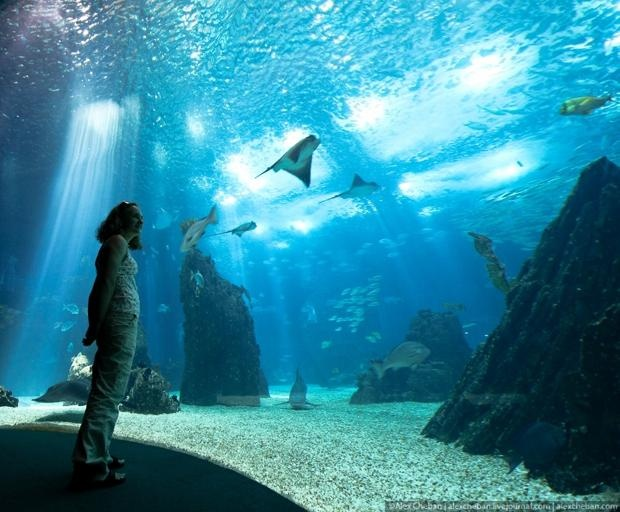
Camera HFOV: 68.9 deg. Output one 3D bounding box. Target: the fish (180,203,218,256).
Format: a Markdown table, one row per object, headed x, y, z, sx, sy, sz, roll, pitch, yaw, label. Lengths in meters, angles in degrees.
| x | y | z | sx | sy | sz | roll | pitch | yaw | label |
| --- | --- | --- | --- | --- | --- | --- | --- | --- | --- |
| -3.168 | -0.640 | 12.751 | 1.028 | 1.108 | 1.607 | -4 | -13 | -14 | fish |
